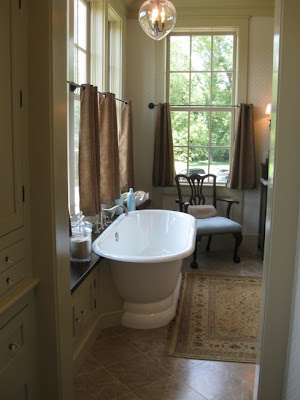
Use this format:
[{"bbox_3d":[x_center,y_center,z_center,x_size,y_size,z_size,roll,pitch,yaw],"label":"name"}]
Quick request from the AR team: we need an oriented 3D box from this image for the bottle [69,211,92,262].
[{"bbox_3d":[-0.468,0.243,2.232,0.138,0.292,0.275,-1,7,-11],"label":"bottle"}]

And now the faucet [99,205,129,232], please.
[{"bbox_3d":[-0.387,0.147,3.143,0.112,0.212,0.484,4,13,24],"label":"faucet"}]

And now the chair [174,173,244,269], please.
[{"bbox_3d":[0.673,0.238,3.962,0.769,1.218,0.783,-2,-3,-43],"label":"chair"}]

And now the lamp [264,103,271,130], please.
[{"bbox_3d":[1.371,-0.951,3.838,0.055,0.318,0.462,2,7,18],"label":"lamp"}]

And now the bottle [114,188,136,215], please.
[{"bbox_3d":[-0.297,0.030,3.535,0.253,0.330,0.166,0,4,-22],"label":"bottle"}]
